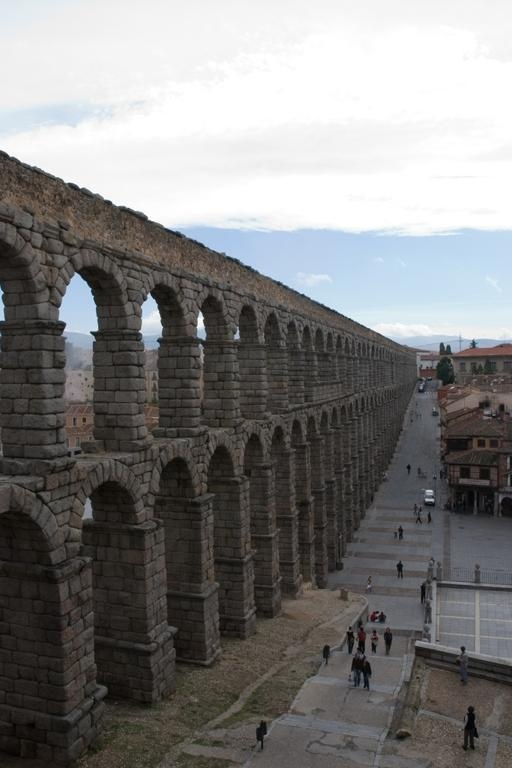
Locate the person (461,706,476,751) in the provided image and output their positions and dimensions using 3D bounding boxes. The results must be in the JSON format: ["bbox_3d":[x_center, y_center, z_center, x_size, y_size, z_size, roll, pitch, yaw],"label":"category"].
[{"bbox_3d":[4.898,7.779,15.264,0.323,1.096,0.878,3,-4,20],"label":"person"}]

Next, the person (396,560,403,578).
[{"bbox_3d":[8.490,10.945,39.471,0.330,0.904,1.367,4,-4,11],"label":"person"}]

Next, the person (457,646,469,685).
[{"bbox_3d":[5.941,8.009,19.163,0.278,0.903,0.773,3,-4,17],"label":"person"}]
